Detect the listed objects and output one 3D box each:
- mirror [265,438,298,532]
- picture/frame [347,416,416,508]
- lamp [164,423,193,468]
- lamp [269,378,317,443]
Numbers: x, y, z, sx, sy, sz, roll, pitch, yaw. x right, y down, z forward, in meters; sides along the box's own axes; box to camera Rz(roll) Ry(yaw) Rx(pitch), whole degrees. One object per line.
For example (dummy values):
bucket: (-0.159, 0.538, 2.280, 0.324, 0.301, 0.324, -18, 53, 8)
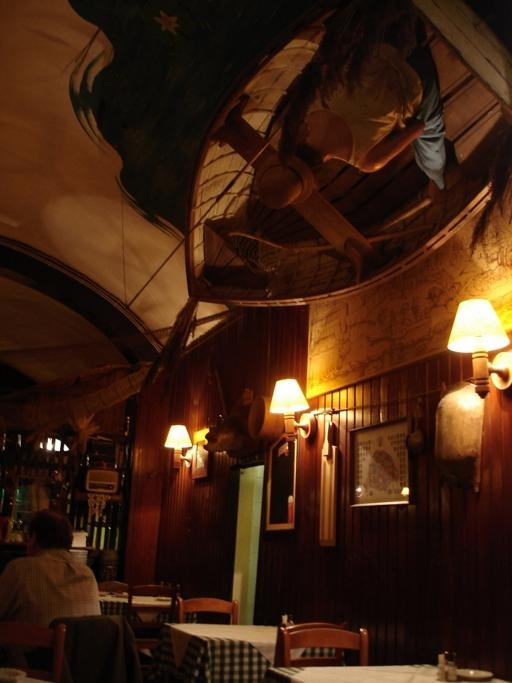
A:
mirror: (0.207, 1.152, 4.499, 0.064, 0.877, 0.604, 13, -23, -21)
picture/frame: (0.753, 0.715, 3.340, 0.043, 0.447, 0.557, 5, -8, -16)
lamp: (-0.967, 1.291, 7.075, 0.328, 0.503, 0.665, 5, -17, -6)
lamp: (0.255, 0.485, 4.087, 0.270, 0.449, 0.260, -1, -10, -3)
